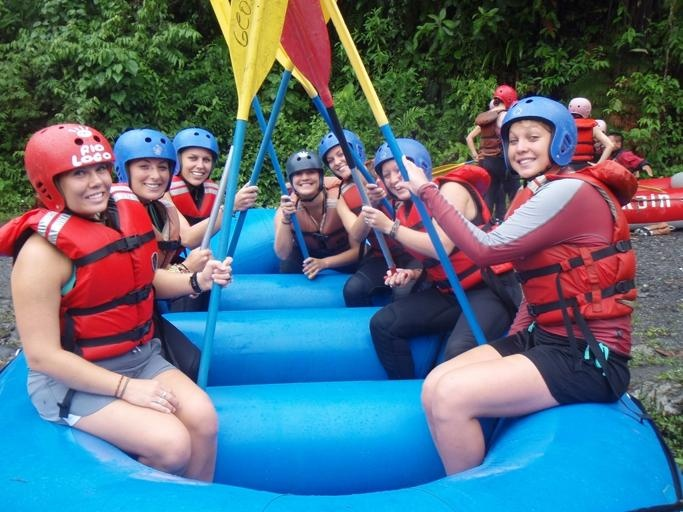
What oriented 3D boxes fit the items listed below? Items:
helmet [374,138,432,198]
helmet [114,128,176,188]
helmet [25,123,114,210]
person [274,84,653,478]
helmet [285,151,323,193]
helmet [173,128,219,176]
[{"bbox_3d":[0.356,-0.515,3.350,0.240,0.293,0.215,-50,4,-16],"label":"helmet"},{"bbox_3d":[-1.081,-0.520,3.295,0.309,0.313,0.246,12,6,42],"label":"helmet"},{"bbox_3d":[-1.027,-0.378,2.568,0.349,0.341,0.293,3,14,5],"label":"helmet"},{"bbox_3d":[0.764,0.086,2.596,0.918,1.438,0.527,-5,14,-4],"label":"person"},{"bbox_3d":[-0.260,-0.584,4.227,0.169,0.230,0.234,-4,-2,-3],"label":"helmet"},{"bbox_3d":[-1.010,-0.723,4.244,0.219,0.288,0.289,1,4,-29],"label":"helmet"}]
